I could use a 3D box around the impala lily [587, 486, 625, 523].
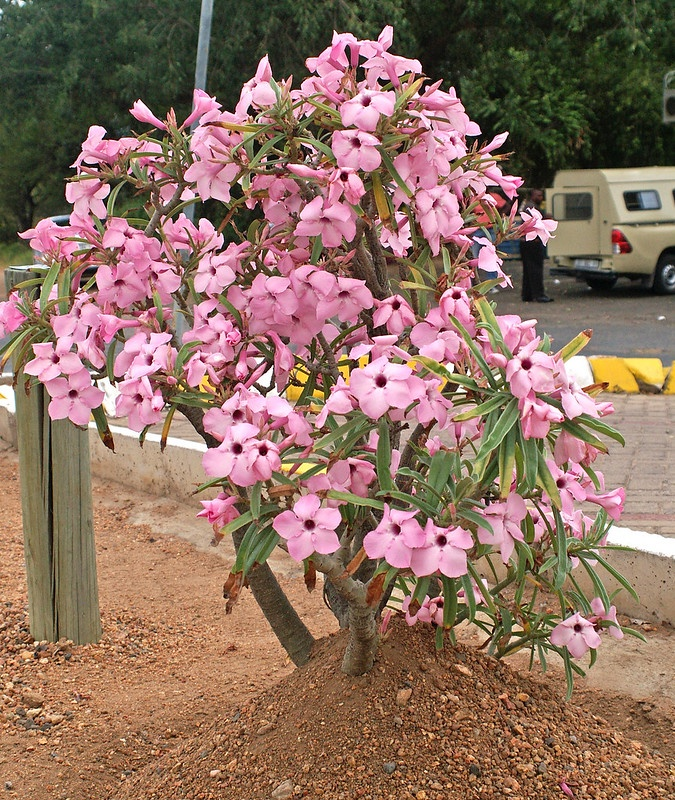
[{"bbox_3d":[0.707,0.283,2.338,0.153,0.073,0.088,4,18,11],"label":"impala lily"}]
